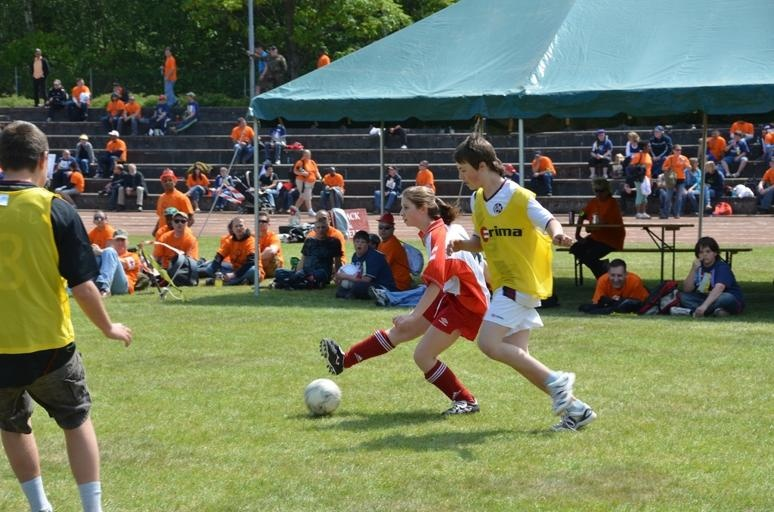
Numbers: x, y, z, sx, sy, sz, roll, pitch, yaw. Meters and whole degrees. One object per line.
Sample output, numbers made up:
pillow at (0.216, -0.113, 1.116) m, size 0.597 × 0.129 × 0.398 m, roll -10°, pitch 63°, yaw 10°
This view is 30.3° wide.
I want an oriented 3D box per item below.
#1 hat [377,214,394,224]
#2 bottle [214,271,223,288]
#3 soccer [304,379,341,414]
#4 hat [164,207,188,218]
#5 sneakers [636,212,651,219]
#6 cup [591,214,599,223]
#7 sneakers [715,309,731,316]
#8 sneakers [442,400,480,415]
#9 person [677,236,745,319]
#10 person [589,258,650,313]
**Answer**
hat at (-0.063, -0.784, 29.229) m, size 0.294 × 0.186 × 0.387 m, roll 8°, pitch 4°, yaw 17°
bottle at (-3.622, 0.485, 30.958) m, size 0.194 × 0.230 × 0.387 m, roll -4°, pitch 14°, yaw -6°
soccer at (-1.068, 2.337, 23.692) m, size 0.678 × 0.515 × 0.544 m, roll 4°, pitch -11°, yaw -7°
hat at (-4.606, -0.901, 31.197) m, size 0.550 × 0.255 × 0.313 m, roll -3°, pitch 11°, yaw -3°
sneakers at (7.293, -1.170, 40.682) m, size 0.455 × 0.173 × 0.174 m, roll -3°, pitch 6°, yaw -39°
cup at (4.386, -0.789, 30.242) m, size 0.175 × 0.265 × 0.164 m, roll 1°, pitch -2°, yaw 0°
sneakers at (6.443, 1.065, 27.537) m, size 0.312 × 0.130 × 0.150 m, roll -3°, pitch 15°, yaw -5°
sneakers at (1.255, 2.483, 23.603) m, size 0.676 × 0.244 × 0.212 m, roll 2°, pitch -4°, yaw -3°
person at (6.301, 0.396, 27.766) m, size 1.222 × 1.426 × 1.206 m, roll 0°, pitch -1°, yaw -18°
person at (4.526, 0.535, 27.910) m, size 1.103 × 1.019 × 0.629 m, roll 0°, pitch 15°, yaw 8°
